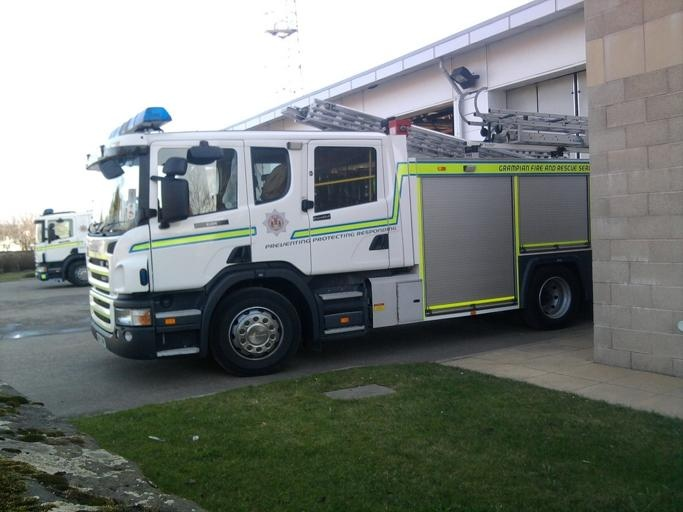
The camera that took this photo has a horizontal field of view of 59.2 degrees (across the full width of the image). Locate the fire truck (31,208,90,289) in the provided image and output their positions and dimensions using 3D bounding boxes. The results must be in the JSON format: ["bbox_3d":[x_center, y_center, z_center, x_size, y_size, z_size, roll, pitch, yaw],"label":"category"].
[{"bbox_3d":[-10.624,-0.249,22.995,1.934,2.807,0.891,-3,4,-14],"label":"fire truck"}]

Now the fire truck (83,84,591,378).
[{"bbox_3d":[-0.109,-0.312,11.047,10.324,4.809,3.772,-1,1,-28],"label":"fire truck"}]
